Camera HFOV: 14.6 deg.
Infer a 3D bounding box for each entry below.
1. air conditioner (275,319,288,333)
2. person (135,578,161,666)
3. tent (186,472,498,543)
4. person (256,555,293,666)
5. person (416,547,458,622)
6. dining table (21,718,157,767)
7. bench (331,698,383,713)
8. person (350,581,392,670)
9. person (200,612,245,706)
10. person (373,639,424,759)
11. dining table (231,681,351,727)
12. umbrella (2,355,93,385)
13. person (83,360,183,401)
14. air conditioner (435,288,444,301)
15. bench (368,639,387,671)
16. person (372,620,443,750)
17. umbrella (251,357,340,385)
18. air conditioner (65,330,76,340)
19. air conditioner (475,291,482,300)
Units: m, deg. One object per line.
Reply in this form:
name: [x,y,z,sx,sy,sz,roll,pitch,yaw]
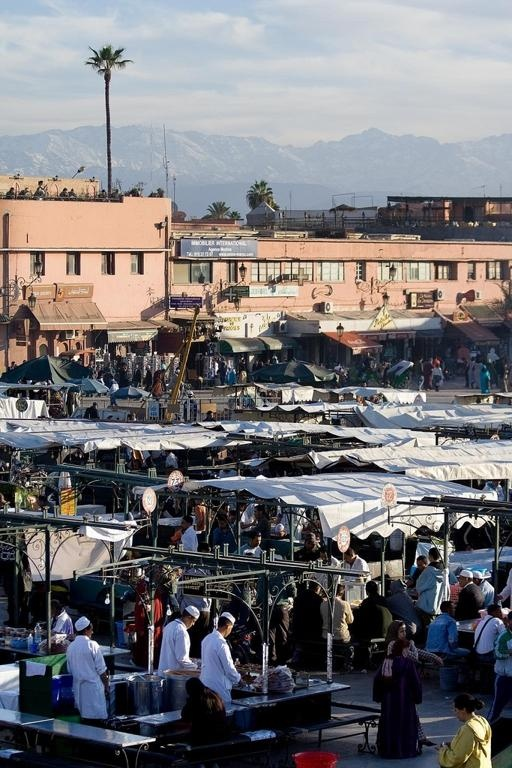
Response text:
air conditioner: [0.703,-1.621,58.941,0.390,0.319,0.228,-1,0,24]
person: [-1.108,2.501,20.747,0.212,0.976,0.313,-15,25,-43]
tent: [1.191,1.551,23.842,2.950,0.591,2.412,-2,0,-25]
person: [0.093,2.524,20.764,0.547,1.195,0.626,-1,-3,6]
person: [2.002,2.378,22.737,0.370,1.107,0.345,-11,26,-30]
dining table: [-1.524,3.223,17.860,1.386,0.348,0.479,-1,0,36]
bench: [0.962,3.130,19.302,0.311,0.083,0.141,4,9,42]
person: [1.224,2.594,21.513,0.366,0.937,0.436,-4,2,-39]
person: [-0.340,2.549,18.406,0.354,0.799,0.361,-2,4,22]
person: [1.319,2.903,18.529,0.401,1.079,0.408,0,1,18]
dining table: [0.283,3.010,18.535,0.445,0.309,1.294,-1,0,42]
umbrella: [-4.210,-0.168,39.224,0.846,0.610,1.561,-5,4,29]
person: [-2.365,0.034,43.269,1.166,0.730,1.998,0,-1,3]
air conditioner: [6.039,-2.896,65.771,0.246,0.526,0.501,0,1,2]
bench: [1.298,2.943,21.502,0.265,0.414,0.297,2,-6,-14]
person: [1.352,2.880,18.537,0.451,1.047,0.460,-2,2,18]
umbrella: [0.696,-0.183,42.836,1.612,0.551,1.211,-10,4,-26]
air conditioner: [-4.755,-1.236,51.380,0.279,0.181,0.301,1,-4,-22]
air conditioner: [7.573,-2.982,68.320,0.239,0.372,0.233,0,0,-40]
